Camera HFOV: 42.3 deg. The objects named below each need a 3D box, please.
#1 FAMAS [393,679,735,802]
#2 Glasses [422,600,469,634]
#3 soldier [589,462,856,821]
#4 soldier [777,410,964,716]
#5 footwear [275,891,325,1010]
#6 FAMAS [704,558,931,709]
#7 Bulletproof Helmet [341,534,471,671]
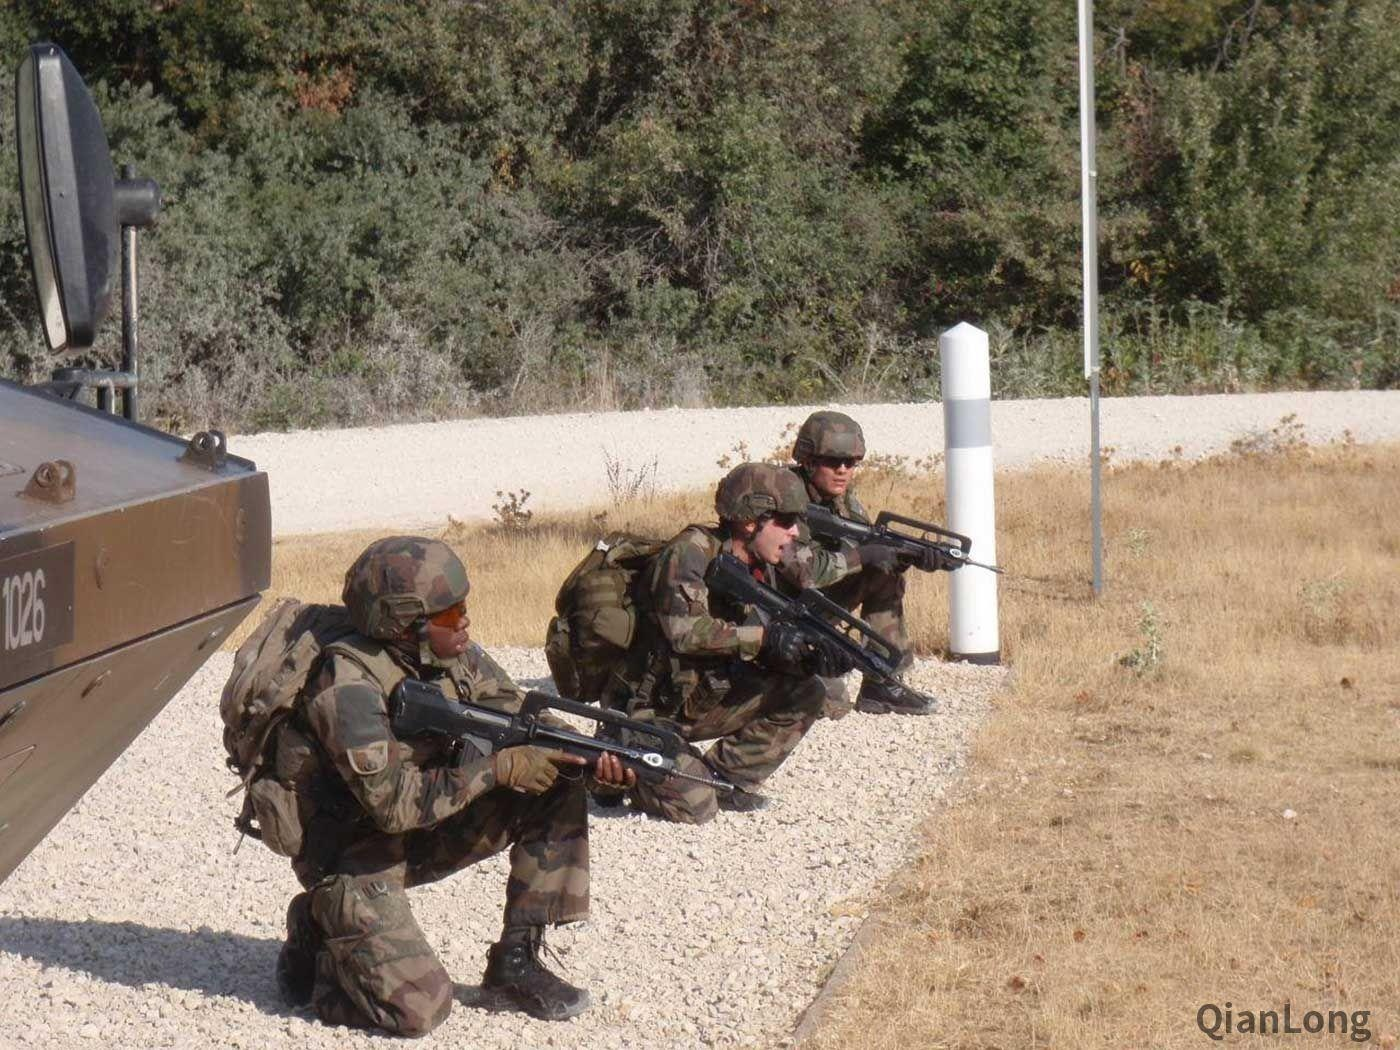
[{"bbox_3d":[-0.532,0.828,6.893,1.196,0.432,0.198,20,-6,-9],"label":"FAMAS"},{"bbox_3d":[-0.925,0.355,6.543,0.087,0.079,0.126,-19,-17,-39],"label":"Glasses"},{"bbox_3d":[0.102,0.529,8.302,0.905,1.704,0.935,5,14,-6],"label":"soldier"},{"bbox_3d":[0.779,0.237,9.376,0.722,1.686,0.688,-5,11,1],"label":"soldier"},{"bbox_3d":[-1.453,1.558,6.725,0.155,0.417,0.137,4,-27,-15],"label":"footwear"},{"bbox_3d":[0.494,0.531,8.064,1.137,0.236,0.534,29,50,15],"label":"FAMAS"},{"bbox_3d":[-1.025,0.194,6.584,0.398,0.475,0.373,31,17,17],"label":"Bulletproof Helmet"}]
